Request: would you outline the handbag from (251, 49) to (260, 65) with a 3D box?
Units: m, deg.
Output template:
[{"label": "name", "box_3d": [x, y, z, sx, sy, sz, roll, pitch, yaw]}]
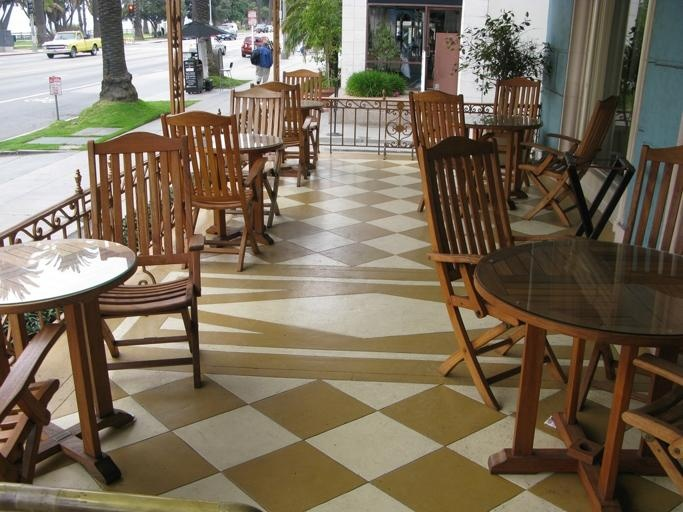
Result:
[{"label": "handbag", "box_3d": [-2.883, -6.594, 17.503, 0.259, 0.467, 0.687, -6, 20, -7]}]

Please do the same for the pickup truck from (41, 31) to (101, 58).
[{"label": "pickup truck", "box_3d": [-14.741, -11.500, 28.502, 1.006, 1.369, 3.790, 1, 20, 11]}]
